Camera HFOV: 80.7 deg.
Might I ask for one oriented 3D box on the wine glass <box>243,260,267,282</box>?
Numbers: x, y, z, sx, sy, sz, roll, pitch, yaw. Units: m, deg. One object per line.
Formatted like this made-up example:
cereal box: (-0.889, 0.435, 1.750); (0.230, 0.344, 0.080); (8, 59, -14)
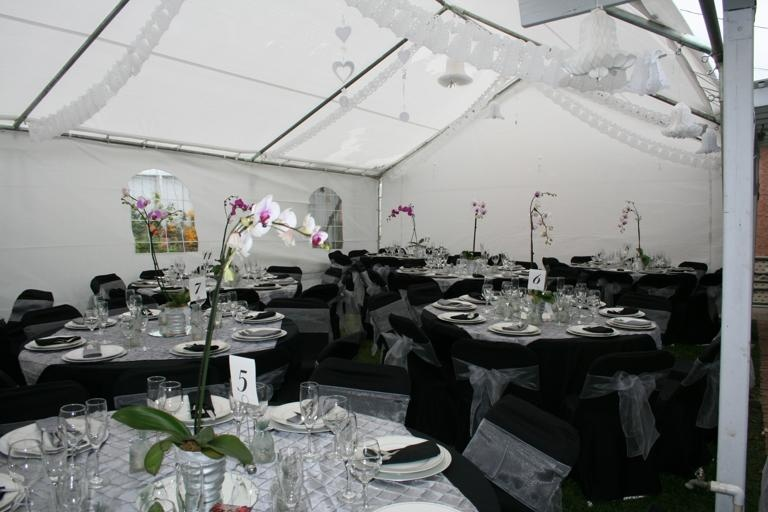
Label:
wine glass: (-2.008, 0.230, 6.971); (0.276, 0.465, 0.302); (0, -2, -3)

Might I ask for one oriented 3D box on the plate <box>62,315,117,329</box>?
plate: (-2.511, 0.566, 3.814); (0.234, 0.042, 0.238); (0, -2, 4)

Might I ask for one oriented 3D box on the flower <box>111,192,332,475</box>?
flower: (-0.684, 0.339, 1.886); (0.862, 1.078, 0.610); (-4, -11, 11)

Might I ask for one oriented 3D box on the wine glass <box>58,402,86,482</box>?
wine glass: (-1.422, 0.848, 2.062); (0.117, 0.318, 0.114); (-2, 5, -35)

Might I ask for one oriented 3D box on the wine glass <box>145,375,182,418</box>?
wine glass: (-1.048, 0.665, 2.158); (0.173, 0.203, 0.192); (1, -6, -3)
